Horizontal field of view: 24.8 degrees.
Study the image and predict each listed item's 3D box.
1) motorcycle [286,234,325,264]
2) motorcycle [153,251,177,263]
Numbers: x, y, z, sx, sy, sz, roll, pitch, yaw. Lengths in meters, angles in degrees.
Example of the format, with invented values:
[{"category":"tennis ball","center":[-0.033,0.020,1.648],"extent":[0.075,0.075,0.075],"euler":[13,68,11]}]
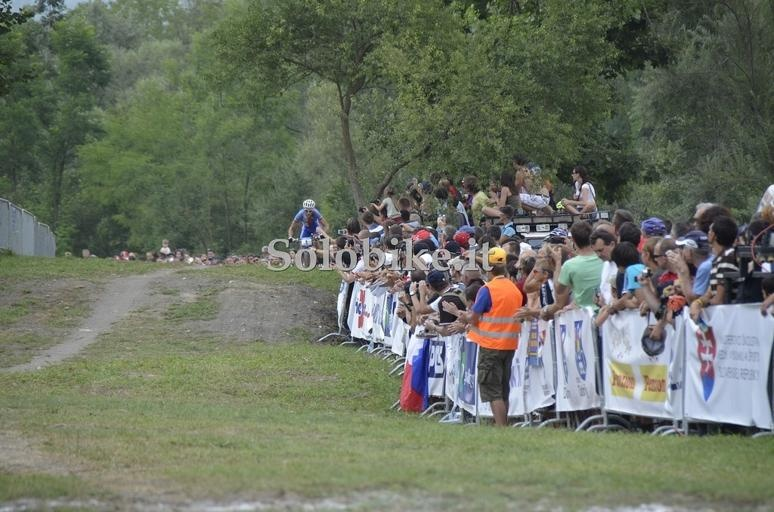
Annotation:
[{"category":"motorcycle","center":[-4.140,-0.333,88.739],"extent":[2.127,1.327,1.472],"euler":[-2,-5,-1]},{"category":"motorcycle","center":[-14.434,0.148,115.594],"extent":[1.263,0.612,1.560],"euler":[0,-6,-6]}]
